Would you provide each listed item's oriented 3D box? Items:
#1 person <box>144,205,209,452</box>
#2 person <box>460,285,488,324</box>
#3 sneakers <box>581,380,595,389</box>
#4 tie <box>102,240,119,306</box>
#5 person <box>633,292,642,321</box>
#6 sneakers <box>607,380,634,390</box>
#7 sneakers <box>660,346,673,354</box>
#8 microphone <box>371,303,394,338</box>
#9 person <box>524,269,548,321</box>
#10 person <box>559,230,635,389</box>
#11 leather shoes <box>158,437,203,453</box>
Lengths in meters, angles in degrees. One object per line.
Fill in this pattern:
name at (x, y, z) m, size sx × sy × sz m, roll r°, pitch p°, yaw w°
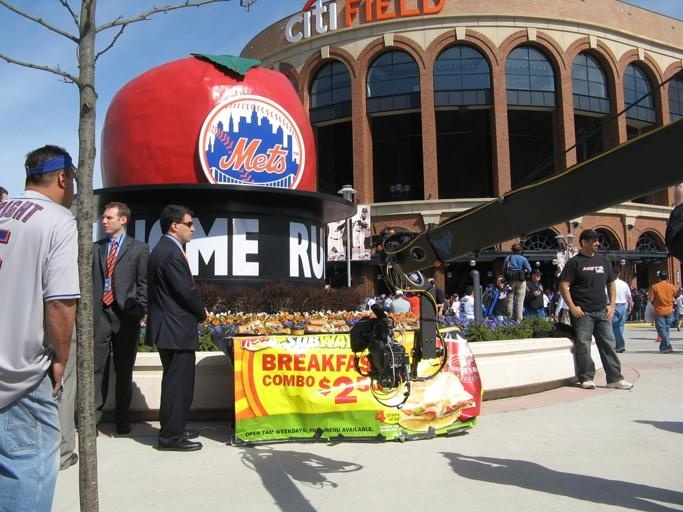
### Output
person at (-1.818, 0.773, 7.265) m, size 0.545 × 2.643 × 0.735 m, roll -2°, pitch 3°, yaw -39°
person at (3.677, 1.511, 18.375) m, size 0.621 × 1.192 × 0.783 m, roll 15°, pitch -26°, yaw -21°
sneakers at (3.719, 1.956, 9.855) m, size 0.093 × 0.093 × 0.205 m, roll -2°, pitch -11°, yaw 3°
tie at (-2.702, 0.201, 7.660) m, size 0.159 × 0.756 × 0.172 m, roll 0°, pitch 3°, yaw 0°
person at (15.295, 2.633, 33.766) m, size 0.396 × 1.397 × 1.436 m, roll 1°, pitch 3°, yaw 24°
sneakers at (4.214, 1.932, 9.850) m, size 0.326 × 0.157 × 0.157 m, roll -5°, pitch -4°, yaw 26°
sneakers at (7.329, 2.115, 14.705) m, size 0.327 × 0.145 × 0.198 m, roll -1°, pitch 3°, yaw -10°
microphone at (0.350, 0.550, 5.731) m, size 0.103 × 0.123 × 0.389 m, roll -8°, pitch 15°, yaw 0°
person at (4.527, 1.115, 15.052) m, size 0.535 × 1.459 × 0.403 m, roll -1°, pitch -4°, yaw -20°
person at (3.839, 0.786, 9.869) m, size 0.947 × 2.404 × 0.492 m, roll -1°, pitch 8°, yaw 13°
leather shoes at (-1.732, 2.043, 7.102) m, size 0.459 × 0.225 × 0.180 m, roll 0°, pitch -4°, yaw -7°
